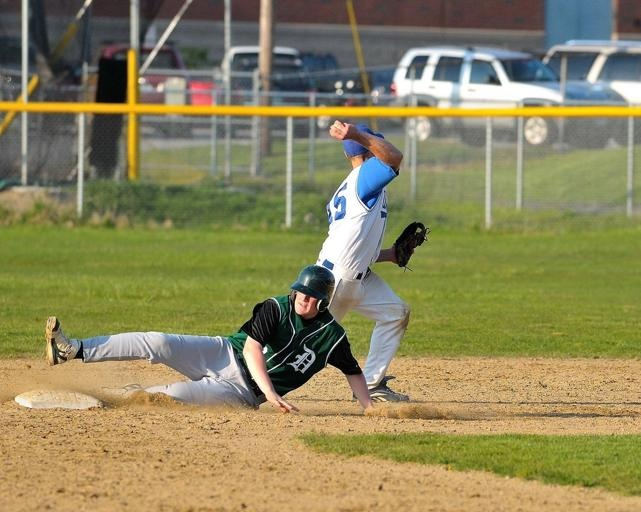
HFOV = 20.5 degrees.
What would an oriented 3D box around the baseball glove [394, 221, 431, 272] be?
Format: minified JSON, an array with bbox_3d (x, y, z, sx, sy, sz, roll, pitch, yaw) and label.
[{"bbox_3d":[0.953,-0.064,19.106,0.325,0.525,0.313,1,9,7],"label":"baseball glove"}]

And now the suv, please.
[{"bbox_3d":[2.672,-2.185,25.468,3.067,1.383,1.476,5,11,30],"label":"suv"}]

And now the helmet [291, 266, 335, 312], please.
[{"bbox_3d":[-0.089,0.350,17.876,0.447,0.454,0.218,1,13,-2],"label":"helmet"}]

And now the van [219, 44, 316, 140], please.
[{"bbox_3d":[-0.761,-2.336,25.692,1.166,1.709,5.291,2,14,0],"label":"van"}]
